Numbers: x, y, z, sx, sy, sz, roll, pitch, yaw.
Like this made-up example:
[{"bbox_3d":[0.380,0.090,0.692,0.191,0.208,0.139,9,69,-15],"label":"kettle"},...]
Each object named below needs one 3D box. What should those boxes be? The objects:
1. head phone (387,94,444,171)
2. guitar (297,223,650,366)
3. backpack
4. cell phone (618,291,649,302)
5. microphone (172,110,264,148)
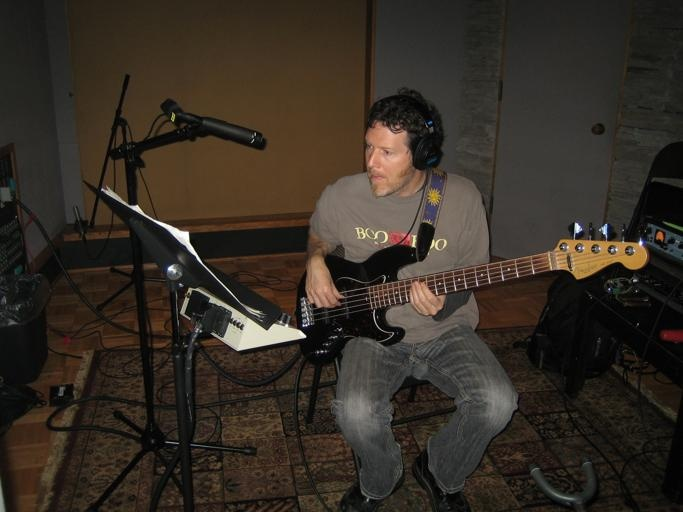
[{"bbox_3d":[0.329,-0.550,2.243,0.234,0.325,0.229,7,20,4],"label":"head phone"},{"bbox_3d":[0.374,0.236,2.403,1.822,0.609,0.188,-17,-25,28],"label":"guitar"},{"bbox_3d":[1.254,0.405,2.782,0.353,0.626,0.537,1,14,-12],"label":"backpack"},{"bbox_3d":[1.340,0.188,2.367,0.100,0.024,0.050,-3,41,19],"label":"cell phone"},{"bbox_3d":[-0.453,-0.485,1.995,0.355,0.114,0.174,11,21,15],"label":"microphone"}]
